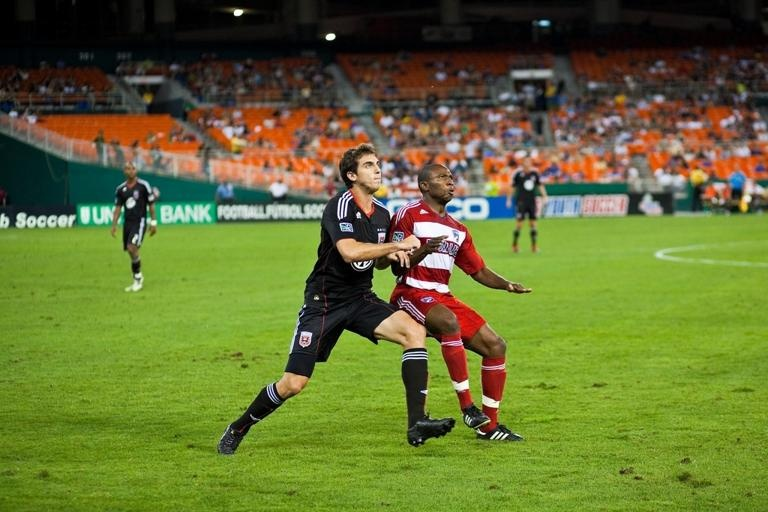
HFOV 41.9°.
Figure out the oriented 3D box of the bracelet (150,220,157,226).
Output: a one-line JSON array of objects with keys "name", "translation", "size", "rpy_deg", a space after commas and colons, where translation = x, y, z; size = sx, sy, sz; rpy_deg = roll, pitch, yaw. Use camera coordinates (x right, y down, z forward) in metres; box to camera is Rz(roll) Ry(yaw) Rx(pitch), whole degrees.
[{"name": "bracelet", "translation": [-5.585, -0.774, 24.368], "size": [0.199, 0.162, 0.175], "rpy_deg": [-1, 5, -3]}]
